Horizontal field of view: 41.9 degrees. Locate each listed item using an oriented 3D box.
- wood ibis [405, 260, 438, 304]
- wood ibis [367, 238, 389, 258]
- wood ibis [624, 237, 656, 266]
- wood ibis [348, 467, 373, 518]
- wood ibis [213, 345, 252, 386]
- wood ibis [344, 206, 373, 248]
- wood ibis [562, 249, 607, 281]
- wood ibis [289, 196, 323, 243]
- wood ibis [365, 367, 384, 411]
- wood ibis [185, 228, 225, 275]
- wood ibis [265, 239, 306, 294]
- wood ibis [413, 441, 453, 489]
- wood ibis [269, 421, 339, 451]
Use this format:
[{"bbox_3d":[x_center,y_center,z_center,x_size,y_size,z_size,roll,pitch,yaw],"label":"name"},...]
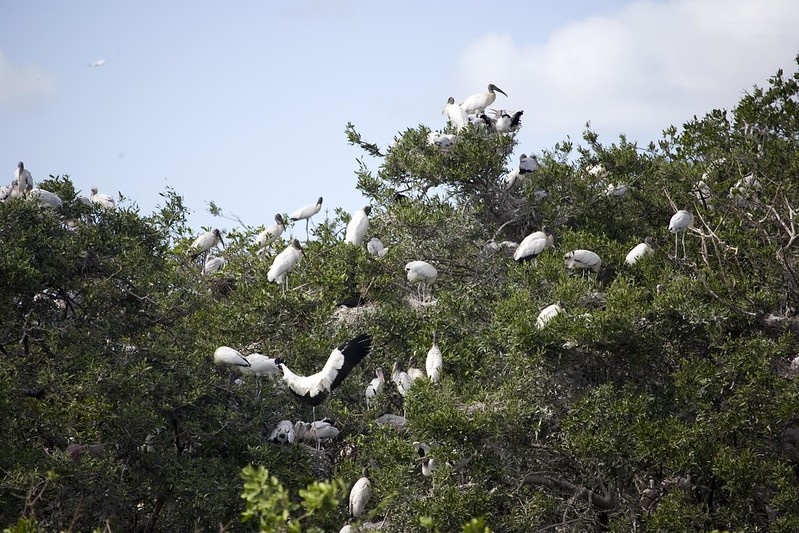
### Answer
[{"bbox_3d":[0.375,0.351,20.249,0.589,0.776,0.786,1,-28,2],"label":"wood ibis"},{"bbox_3d":[-0.474,-0.342,20.589,0.199,0.274,0.641,14,-17,3],"label":"wood ibis"},{"bbox_3d":[4.396,-0.258,19.367,0.630,0.343,0.432,-44,-35,-5],"label":"wood ibis"},{"bbox_3d":[-0.667,3.755,17.189,0.355,0.876,0.604,4,-28,-4],"label":"wood ibis"},{"bbox_3d":[-2.936,1.683,18.275,0.579,0.409,0.711,1,-71,20],"label":"wood ibis"},{"bbox_3d":[-0.868,-0.744,20.741,0.410,0.898,0.532,8,-28,-10],"label":"wood ibis"},{"bbox_3d":[3.312,-0.024,18.999,0.693,0.382,0.473,0,-61,-1],"label":"wood ibis"},{"bbox_3d":[-2.073,-1.010,22.849,0.757,0.299,1.148,-10,-58,-19],"label":"wood ibis"},{"bbox_3d":[-0.447,2.163,19.232,0.357,0.250,0.636,-11,-69,-15],"label":"wood ibis"},{"bbox_3d":[-4.178,-0.358,22.402,0.776,0.902,0.448,1,-7,-21],"label":"wood ibis"},{"bbox_3d":[-2.161,0.016,19.652,0.690,1.126,0.468,1,-3,-6],"label":"wood ibis"},{"bbox_3d":[0.440,3.161,17.210,0.567,0.764,0.460,-21,-17,17],"label":"wood ibis"},{"bbox_3d":[-1.762,2.996,18.783,0.851,0.401,0.593,7,-24,-4],"label":"wood ibis"}]
